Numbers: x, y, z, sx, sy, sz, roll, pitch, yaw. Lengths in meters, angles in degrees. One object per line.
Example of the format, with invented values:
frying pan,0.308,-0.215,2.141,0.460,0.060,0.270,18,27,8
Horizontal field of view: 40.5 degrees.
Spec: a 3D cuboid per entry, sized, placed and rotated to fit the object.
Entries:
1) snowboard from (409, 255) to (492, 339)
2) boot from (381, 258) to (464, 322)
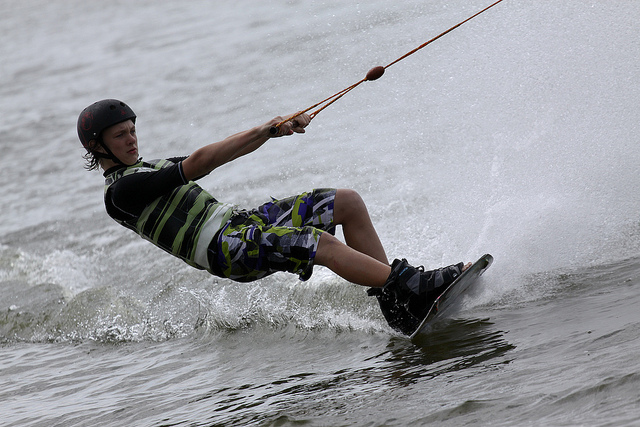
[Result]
snowboard,1.075,0.671,7.093,0.872,0.549,0.107,-25,41,-25
boot,0.861,0.577,7.112,0.454,0.432,0.525,26,47,38
